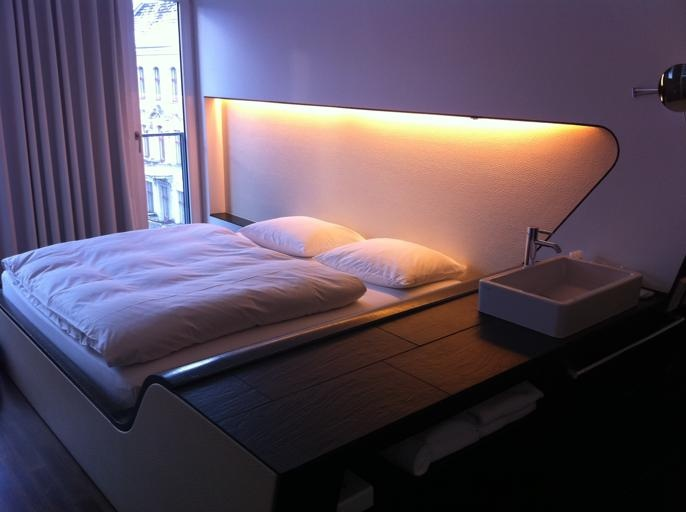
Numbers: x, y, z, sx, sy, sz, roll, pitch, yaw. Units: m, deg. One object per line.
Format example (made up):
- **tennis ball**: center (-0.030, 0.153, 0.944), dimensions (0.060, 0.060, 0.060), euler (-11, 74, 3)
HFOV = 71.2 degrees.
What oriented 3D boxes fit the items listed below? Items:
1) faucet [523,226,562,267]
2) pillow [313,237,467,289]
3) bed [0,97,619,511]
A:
- **faucet**: center (0.836, -0.031, 2.029), dimensions (0.052, 0.159, 0.160), euler (-8, 17, -32)
- **pillow**: center (0.282, 0.029, 2.940), dimensions (0.813, 0.188, 0.436), euler (16, 30, 36)
- **bed**: center (-0.153, 0.156, 2.261), dimensions (1.516, 0.897, 2.097), euler (-13, 24, -35)
